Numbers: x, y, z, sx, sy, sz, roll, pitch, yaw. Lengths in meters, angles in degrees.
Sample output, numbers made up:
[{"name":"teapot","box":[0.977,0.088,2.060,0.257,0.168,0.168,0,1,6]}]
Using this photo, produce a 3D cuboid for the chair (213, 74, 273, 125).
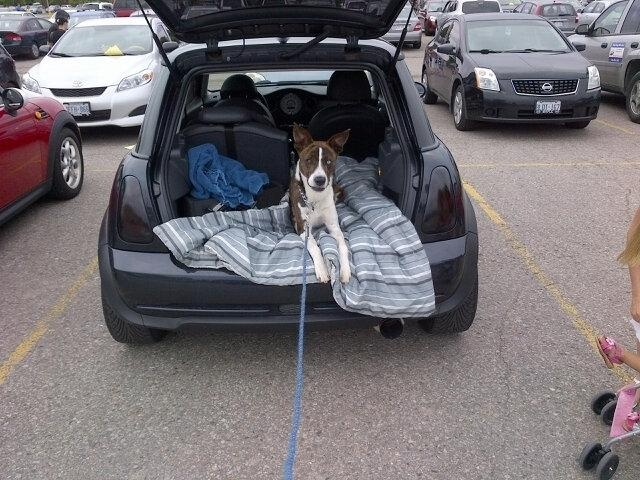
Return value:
[{"name":"chair","box":[-0.758,-1.481,4.497,0.485,0.418,0.854,2,27,-5]}]

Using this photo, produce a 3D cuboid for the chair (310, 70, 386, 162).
[{"name":"chair","box":[0.291,-1.129,4.128,0.551,0.870,0.746,2,30,5]}]
